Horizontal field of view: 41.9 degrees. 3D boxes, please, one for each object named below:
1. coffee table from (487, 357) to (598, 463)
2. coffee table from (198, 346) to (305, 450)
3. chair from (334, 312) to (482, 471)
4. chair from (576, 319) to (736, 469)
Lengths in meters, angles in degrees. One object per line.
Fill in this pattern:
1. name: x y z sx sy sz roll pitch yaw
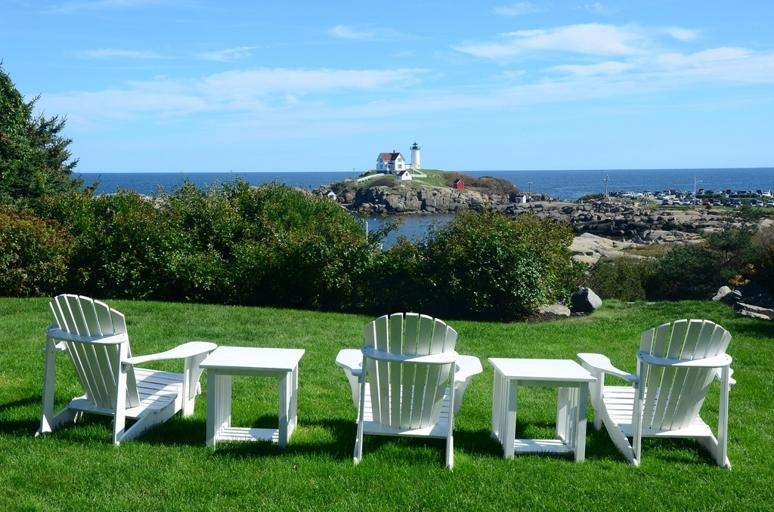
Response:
1. coffee table: 2.636 2.794 17.946 1.503 1.726 1.670 0 0 1
2. coffee table: -2.431 2.783 17.953 1.686 1.830 1.838 5 0 -5
3. chair: 0.350 2.292 18.267 2.149 2.498 2.502 2 0 3
4. chair: 4.709 2.341 18.388 2.086 2.470 2.586 1 2 0
